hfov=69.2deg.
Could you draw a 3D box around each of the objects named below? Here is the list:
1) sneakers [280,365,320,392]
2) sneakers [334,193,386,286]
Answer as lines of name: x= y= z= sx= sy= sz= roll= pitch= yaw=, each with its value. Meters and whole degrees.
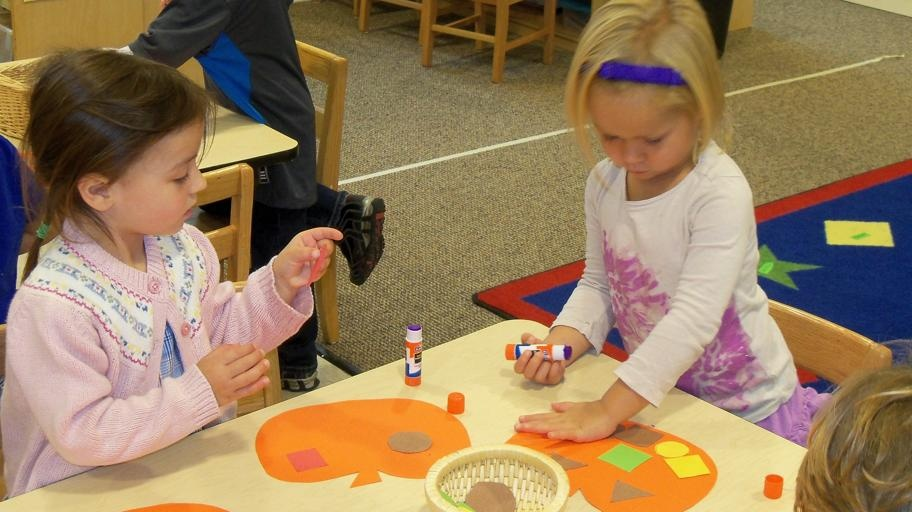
sneakers: x=-0.601 y=0.486 z=2.596 sx=0.148 sy=0.050 sz=0.107 roll=6 pitch=22 yaw=21
sneakers: x=-0.384 y=-0.066 z=2.747 sx=0.317 sy=0.390 sz=0.137 roll=3 pitch=22 yaw=3
